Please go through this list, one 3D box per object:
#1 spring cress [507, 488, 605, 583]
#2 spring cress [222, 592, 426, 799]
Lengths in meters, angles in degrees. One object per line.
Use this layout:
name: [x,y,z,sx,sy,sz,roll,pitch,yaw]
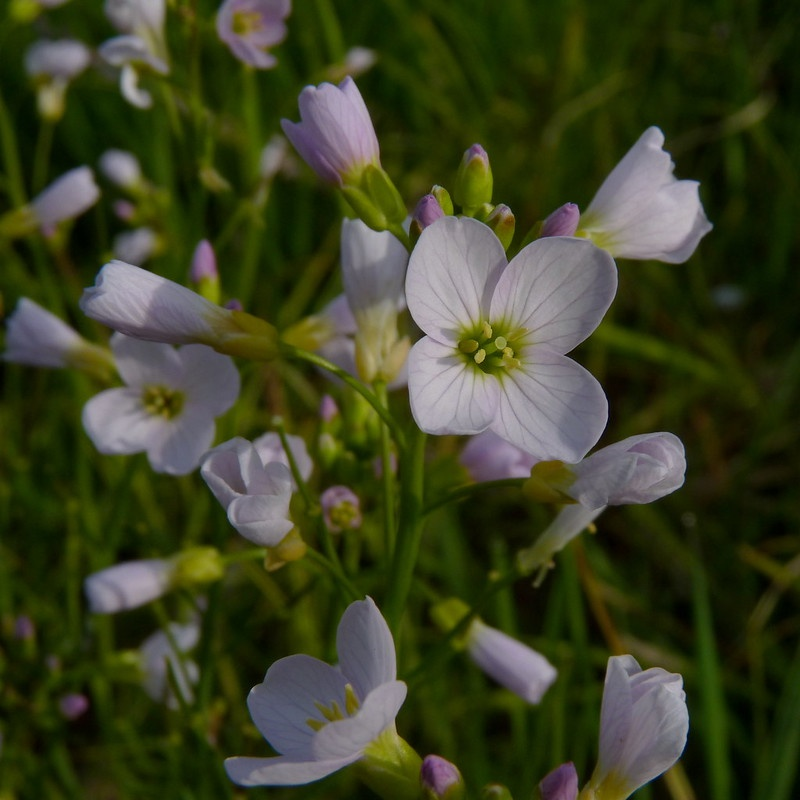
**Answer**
spring cress: [0.359,0.310,2.492,0.119,0.077,0.285,45,70,-19]
spring cress: [-0.142,0.647,2.295,0.328,0.391,0.487,18,50,-25]
